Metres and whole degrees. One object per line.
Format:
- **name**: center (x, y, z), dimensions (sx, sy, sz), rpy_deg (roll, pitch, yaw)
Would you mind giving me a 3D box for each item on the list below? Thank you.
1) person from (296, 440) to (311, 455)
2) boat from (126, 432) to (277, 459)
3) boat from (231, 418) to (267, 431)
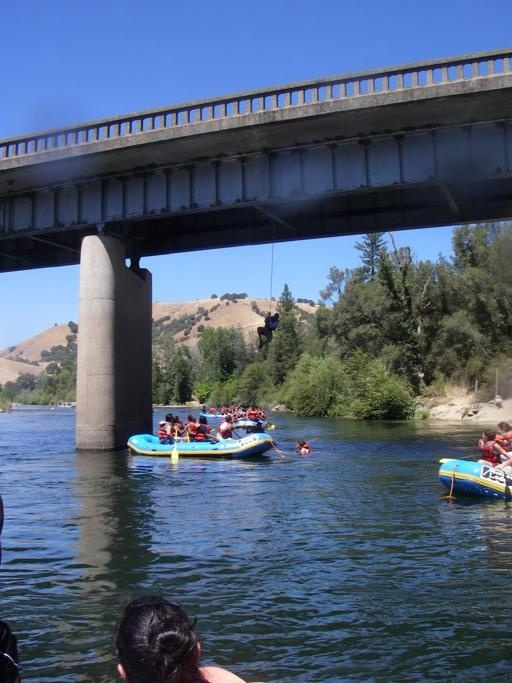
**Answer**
- **person**: center (1.665, 3.761, 27.116), dimensions (0.569, 0.679, 0.412), rpy_deg (1, 16, 9)
- **boat**: center (-1.897, 3.517, 25.219), dimensions (3.568, 0.640, 1.633), rpy_deg (-2, -10, 11)
- **boat**: center (-0.456, 4.734, 45.011), dimensions (1.409, 0.826, 2.957), rpy_deg (0, -4, -28)
